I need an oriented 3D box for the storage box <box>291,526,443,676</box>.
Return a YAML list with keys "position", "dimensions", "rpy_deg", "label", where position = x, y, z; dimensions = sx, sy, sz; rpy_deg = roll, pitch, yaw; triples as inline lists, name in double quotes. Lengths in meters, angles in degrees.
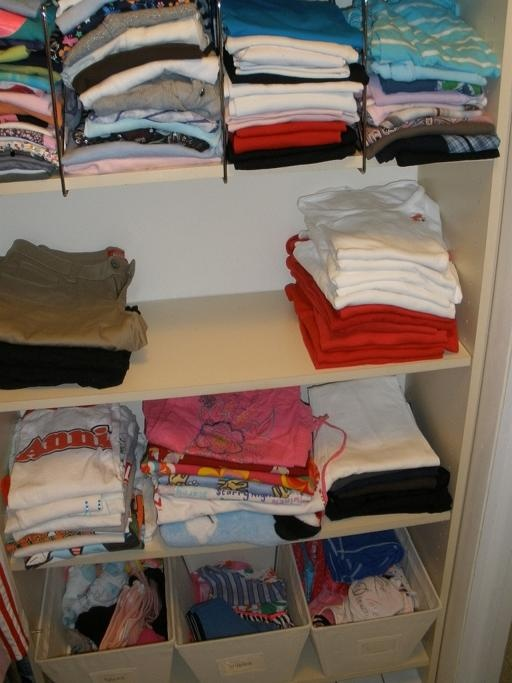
- position: [0.289, 0.736, 1.496]
  dimensions: [0.312, 0.256, 0.394]
  rpy_deg: [-3, 22, -7]
  label: "storage box"
